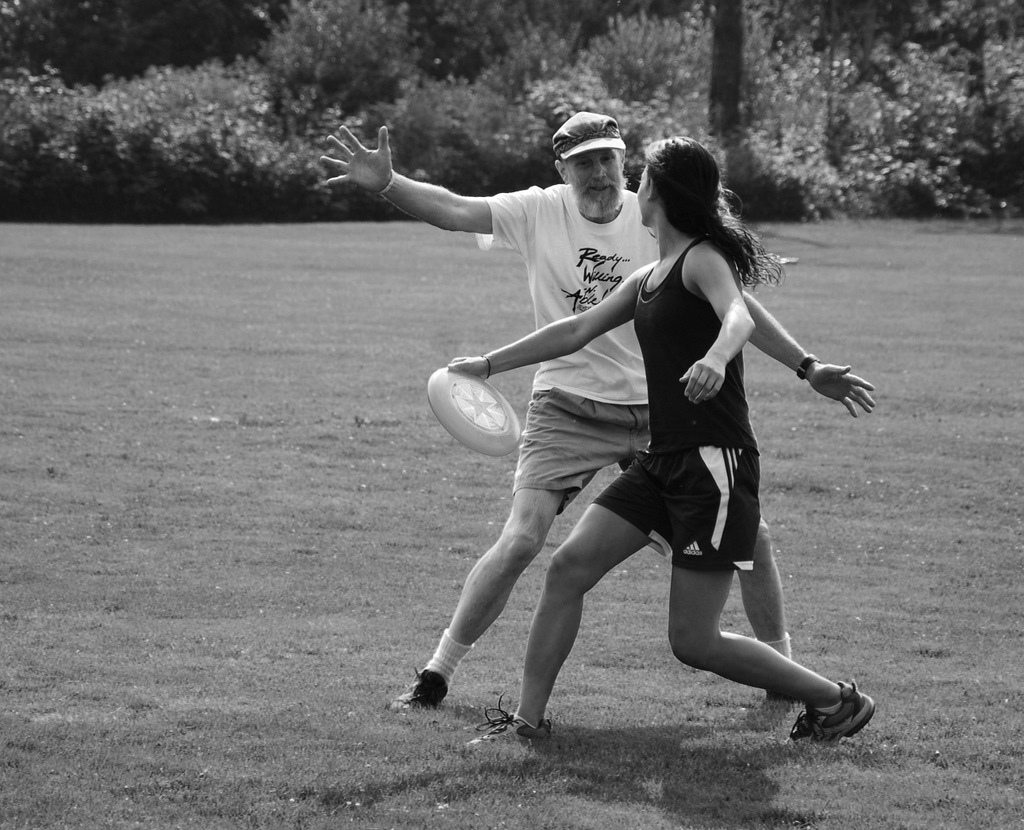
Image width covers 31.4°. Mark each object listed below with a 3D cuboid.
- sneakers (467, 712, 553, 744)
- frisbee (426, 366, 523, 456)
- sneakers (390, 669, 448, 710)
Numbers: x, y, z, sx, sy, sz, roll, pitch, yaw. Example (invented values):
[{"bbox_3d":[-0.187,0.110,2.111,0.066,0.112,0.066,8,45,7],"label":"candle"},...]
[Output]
[{"bbox_3d":[-0.007,1.556,9.116,0.419,0.128,0.157,-6,0,-4],"label":"sneakers"},{"bbox_3d":[-0.145,-0.080,9.563,0.526,0.570,0.143,9,48,41],"label":"frisbee"},{"bbox_3d":[-0.506,1.435,9.518,0.365,0.287,0.135,-3,-4,5],"label":"sneakers"}]
